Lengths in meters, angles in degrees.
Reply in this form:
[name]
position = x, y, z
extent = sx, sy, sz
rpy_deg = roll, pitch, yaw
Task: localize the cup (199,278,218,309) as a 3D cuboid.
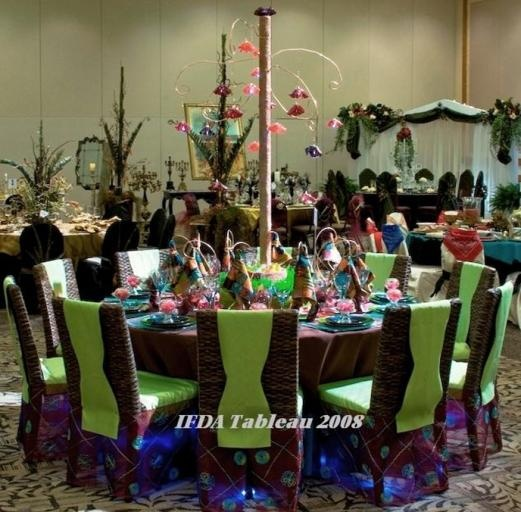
[cup]
position = -0.249, 0.178, 2.299
extent = 0.074, 0.134, 0.085
rpy_deg = 17, 34, 36
